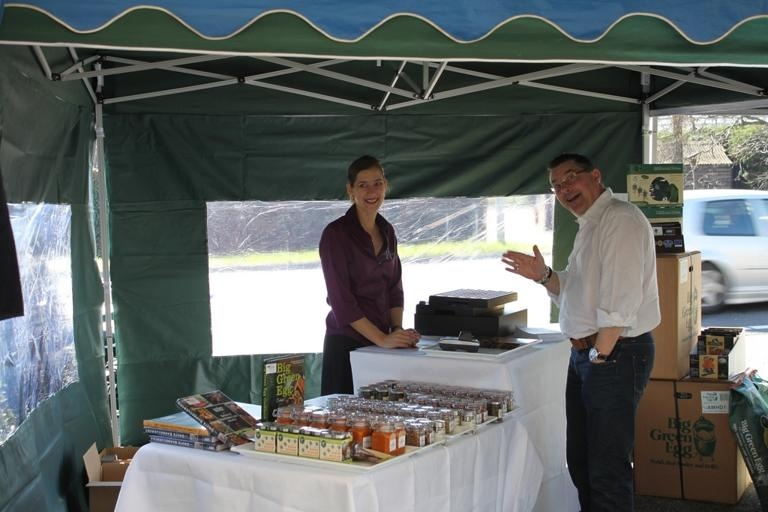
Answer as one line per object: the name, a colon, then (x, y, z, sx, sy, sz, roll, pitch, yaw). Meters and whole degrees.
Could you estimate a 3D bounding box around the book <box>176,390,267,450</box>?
book: (-0.729, 0.714, 2.975, 0.291, 0.047, 0.276, 34, 15, 33)

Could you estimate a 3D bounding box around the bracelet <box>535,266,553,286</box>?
bracelet: (0.896, 0.117, 3.773, 0.037, 0.093, 0.084, 15, -13, -26)

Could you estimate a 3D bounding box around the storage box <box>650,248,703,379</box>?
storage box: (2.118, 0.396, 4.987, 0.297, 0.829, 0.876, 2, 7, 34)

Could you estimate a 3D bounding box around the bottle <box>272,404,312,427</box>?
bottle: (-0.378, 0.679, 2.849, 0.125, 0.044, 0.078, -3, -3, 28)

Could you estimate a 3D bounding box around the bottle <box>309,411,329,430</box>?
bottle: (-0.264, 0.684, 2.785, 0.063, 0.052, 0.062, 1, 4, -4)

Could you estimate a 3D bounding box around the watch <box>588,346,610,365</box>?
watch: (1.097, 0.516, 3.482, 0.111, 0.073, 0.118, 3, 0, 1)
